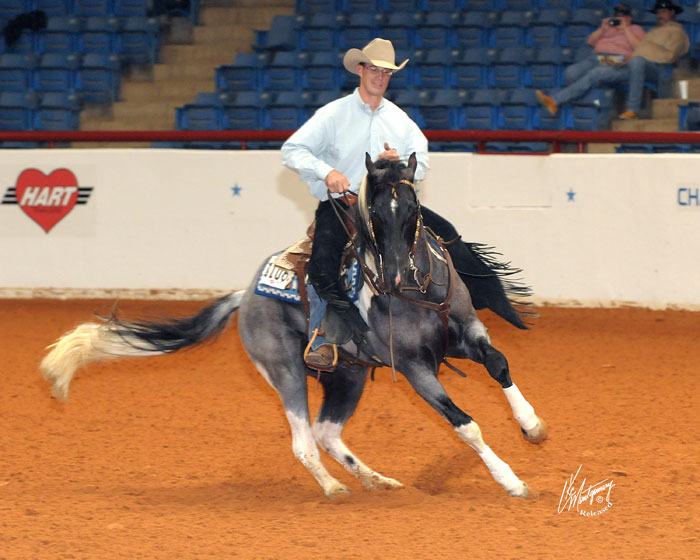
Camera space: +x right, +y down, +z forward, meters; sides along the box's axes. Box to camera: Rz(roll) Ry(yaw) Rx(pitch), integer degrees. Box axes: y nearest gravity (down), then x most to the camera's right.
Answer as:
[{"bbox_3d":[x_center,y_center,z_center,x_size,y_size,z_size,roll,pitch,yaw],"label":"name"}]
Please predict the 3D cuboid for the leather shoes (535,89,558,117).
[{"bbox_3d":[2.783,-2.523,19.429,0.191,0.422,0.252,-41,1,-14],"label":"leather shoes"}]

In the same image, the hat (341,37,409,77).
[{"bbox_3d":[0.184,-1.985,12.079,0.463,0.327,0.707,1,14,0],"label":"hat"}]

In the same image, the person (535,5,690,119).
[{"bbox_3d":[3.789,-3.104,19.395,1.770,1.570,1.070,7,17,22],"label":"person"}]
